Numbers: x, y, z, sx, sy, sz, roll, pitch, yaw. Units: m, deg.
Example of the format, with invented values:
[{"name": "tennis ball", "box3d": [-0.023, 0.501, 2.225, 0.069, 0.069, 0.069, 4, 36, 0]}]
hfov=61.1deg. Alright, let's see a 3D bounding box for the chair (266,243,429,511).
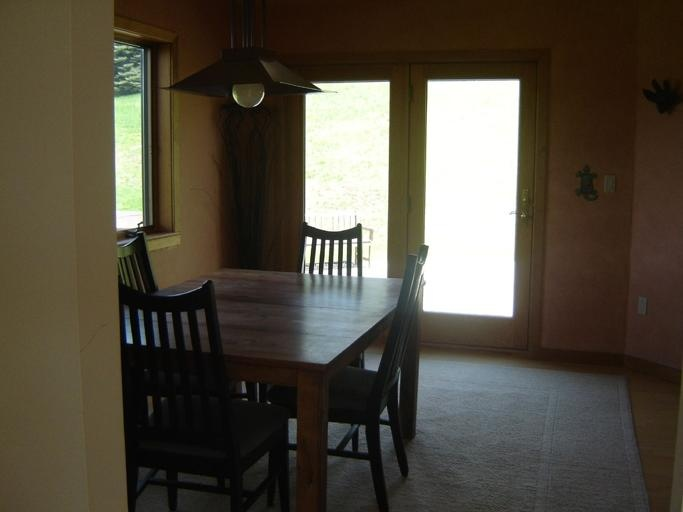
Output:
[{"name": "chair", "box3d": [0.091, 0.458, 3.035, 0.875, 1.659, 0.827, 3, 4, 14]}]
